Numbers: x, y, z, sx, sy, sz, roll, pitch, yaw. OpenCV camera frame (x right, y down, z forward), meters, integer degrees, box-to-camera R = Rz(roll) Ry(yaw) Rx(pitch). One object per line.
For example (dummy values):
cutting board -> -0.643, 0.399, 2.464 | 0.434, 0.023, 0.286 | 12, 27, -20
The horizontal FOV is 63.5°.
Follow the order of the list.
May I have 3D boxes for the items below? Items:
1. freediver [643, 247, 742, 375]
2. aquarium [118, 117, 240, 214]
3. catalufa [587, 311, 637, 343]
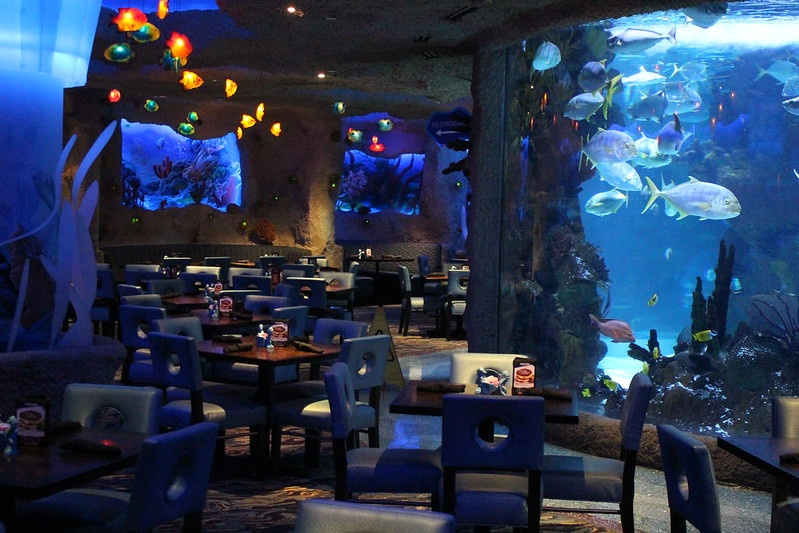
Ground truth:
freediver -> 2.313, 0.353, 5.100 | 0.528, 1.113, 0.109 | 2, 2, 18
aquarium -> -5.362, -2.398, 15.749 | 2.919, 1.908, 0.284 | -4, 5, -42
catalufa -> 1.774, 0.533, 5.493 | 0.385, 0.175, 0.116 | 20, 3, 43
